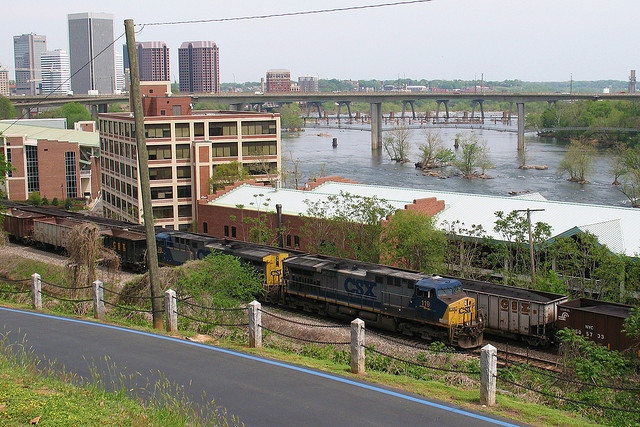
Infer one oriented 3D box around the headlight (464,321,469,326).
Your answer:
[{"bbox_3d":[10.371,7.845,53.169,0.401,0.392,0.216,0,3,-8],"label":"headlight"}]
